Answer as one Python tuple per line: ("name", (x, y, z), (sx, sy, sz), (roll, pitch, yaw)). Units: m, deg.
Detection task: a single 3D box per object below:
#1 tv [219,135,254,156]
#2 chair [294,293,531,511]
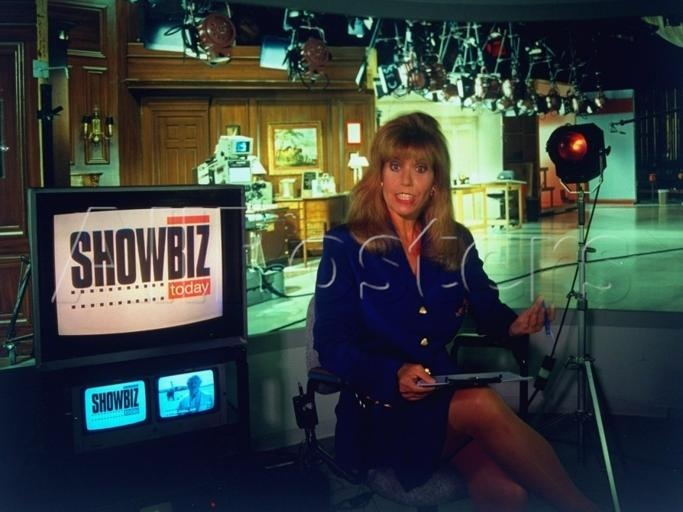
("tv", (-0.940, -0.953, 5.238), (0.309, 0.175, 0.206), (-5, 9, -12))
("chair", (0.270, 0.483, 2.148), (0.566, 0.714, 0.491), (-6, -6, 28))
